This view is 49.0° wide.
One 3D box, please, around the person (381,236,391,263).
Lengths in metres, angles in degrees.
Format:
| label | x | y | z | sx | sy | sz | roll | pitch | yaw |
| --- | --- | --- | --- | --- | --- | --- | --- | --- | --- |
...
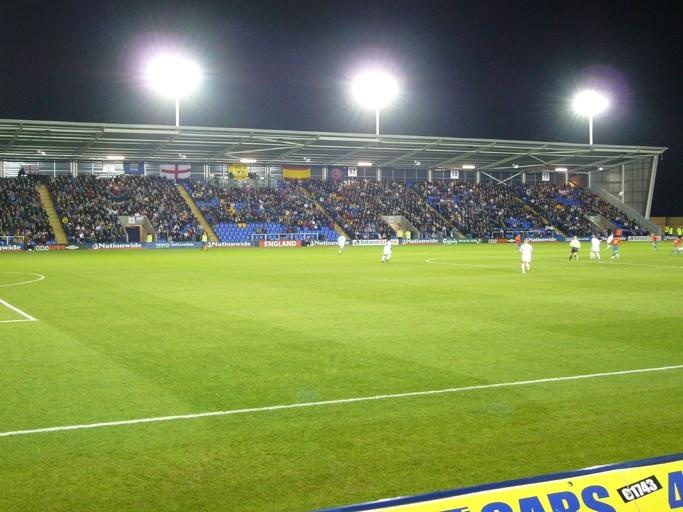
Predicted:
| label | x | y | z | sx | sy | sz | roll | pitch | yaw |
| --- | --- | --- | --- | --- | --- | --- | --- | --- | --- |
| person | 2.029 | -0.055 | 32.310 | 0.573 | 1.539 | 0.444 | -2 | 55 | -1 |

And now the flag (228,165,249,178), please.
| label | x | y | z | sx | sy | sz | roll | pitch | yaw |
| --- | --- | --- | --- | --- | --- | --- | --- | --- | --- |
| flag | -8.311 | -6.781 | 61.133 | 1.272 | 1.101 | 0.657 | -1 | -2 | -33 |

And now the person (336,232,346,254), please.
| label | x | y | z | sx | sy | sz | roll | pitch | yaw |
| --- | --- | --- | --- | --- | --- | --- | --- | --- | --- |
| person | 0.107 | -0.741 | 45.469 | 0.785 | 1.280 | 0.360 | 8 | 1 | 40 |
